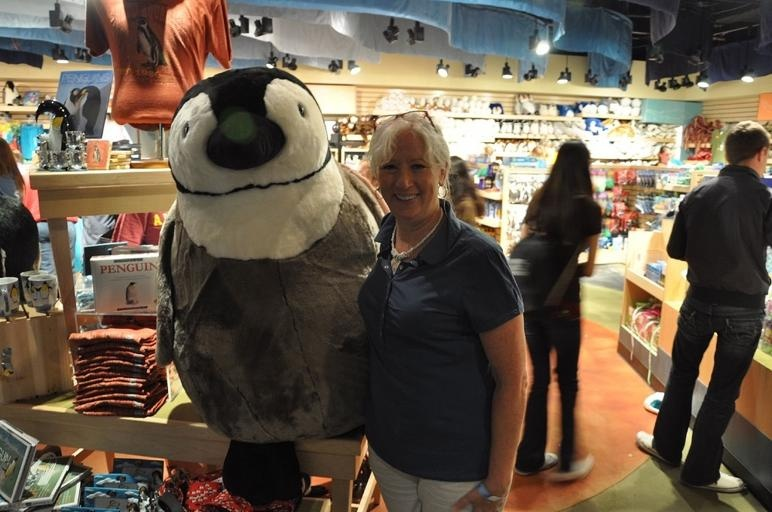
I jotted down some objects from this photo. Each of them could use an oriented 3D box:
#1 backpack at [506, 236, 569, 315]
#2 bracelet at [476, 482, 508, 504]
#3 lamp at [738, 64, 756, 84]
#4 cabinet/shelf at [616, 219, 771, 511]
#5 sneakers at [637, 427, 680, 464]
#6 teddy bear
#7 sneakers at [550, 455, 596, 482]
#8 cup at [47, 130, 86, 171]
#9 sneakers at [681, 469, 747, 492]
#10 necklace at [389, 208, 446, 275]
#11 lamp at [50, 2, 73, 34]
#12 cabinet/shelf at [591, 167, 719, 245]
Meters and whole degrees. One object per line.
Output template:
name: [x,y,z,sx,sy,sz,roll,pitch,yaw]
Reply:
backpack: [0.961,0.128,3.330,0.439,0.564,0.319,6,12,35]
bracelet: [0.446,1.014,2.281,0.102,0.057,0.075,10,7,-23]
lamp: [5.688,-2.886,8.454,0.173,0.230,0.348,7,12,32]
cabinet/shelf: [2.316,0.883,3.999,0.564,1.235,1.929,5,8,4]
sneakers: [2.080,1.459,4.114,0.103,0.101,0.275,-4,18,-28]
teddy bear: [-0.491,0.017,2.312,0.863,1.584,0.328,1,11,4]
sneakers: [1.389,1.547,4.005,0.430,0.181,0.130,2,9,-29]
cup: [-1.629,-0.543,2.833,0.209,0.201,0.185,2,0,-12]
sneakers: [2.343,1.610,3.870,0.432,0.179,0.159,-3,-5,3]
necklace: [0.140,-0.038,2.384,0.192,0.077,0.296,15,55,30]
lamp: [-3.816,-2.820,6.316,0.246,0.354,0.365,-4,22,-34]
cabinet/shelf: [3.215,-0.659,6.542,0.821,1.033,1.418,-3,7,-5]
